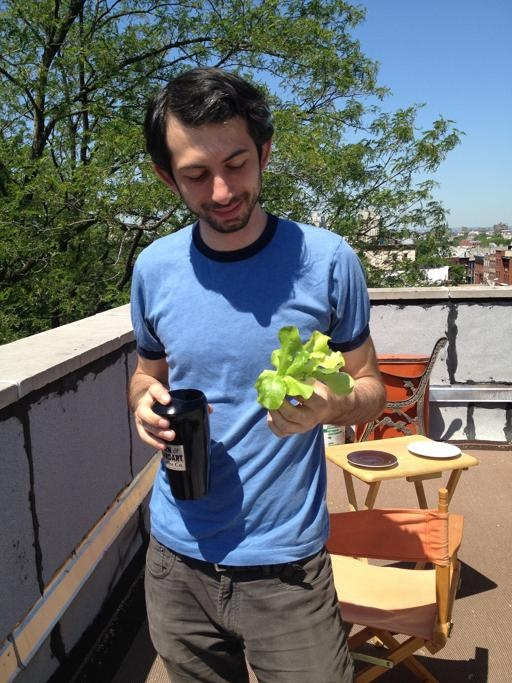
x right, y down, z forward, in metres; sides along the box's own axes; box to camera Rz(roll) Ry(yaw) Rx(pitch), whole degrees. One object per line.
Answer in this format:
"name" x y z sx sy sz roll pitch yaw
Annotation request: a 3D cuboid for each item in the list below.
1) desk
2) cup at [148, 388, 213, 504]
"desk" 0.779 0.737 3.207 0.897 0.798 0.818 -6 28 -5
"cup" -0.160 0.229 1.102 0.119 0.223 0.076 -2 9 0
